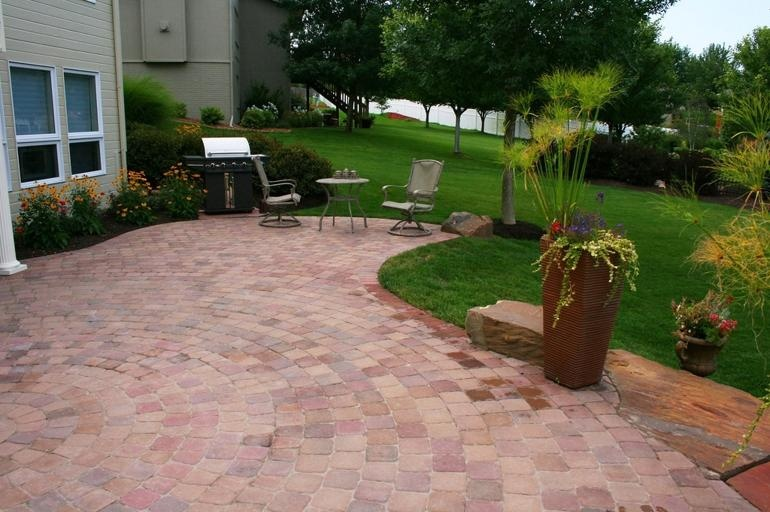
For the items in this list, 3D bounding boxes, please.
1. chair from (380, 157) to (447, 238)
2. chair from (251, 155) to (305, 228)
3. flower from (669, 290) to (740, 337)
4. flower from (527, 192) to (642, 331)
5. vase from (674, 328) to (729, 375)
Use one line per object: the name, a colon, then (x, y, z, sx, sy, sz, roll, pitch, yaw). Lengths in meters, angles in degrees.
chair: (0.573, -1.247, 11.029, 1.249, 1.406, 1.197, 11, 23, 35)
chair: (-2.525, -1.420, 11.485, 1.246, 1.395, 1.075, 4, 8, -3)
flower: (4.082, 0.819, 6.301, 0.688, 0.464, 0.702, -5, -18, 23)
flower: (1.880, 0.192, 5.119, 1.214, 1.111, 1.134, 2, 1, -10)
vase: (3.967, 1.265, 6.261, 0.667, 0.412, 0.590, 12, -6, -28)
